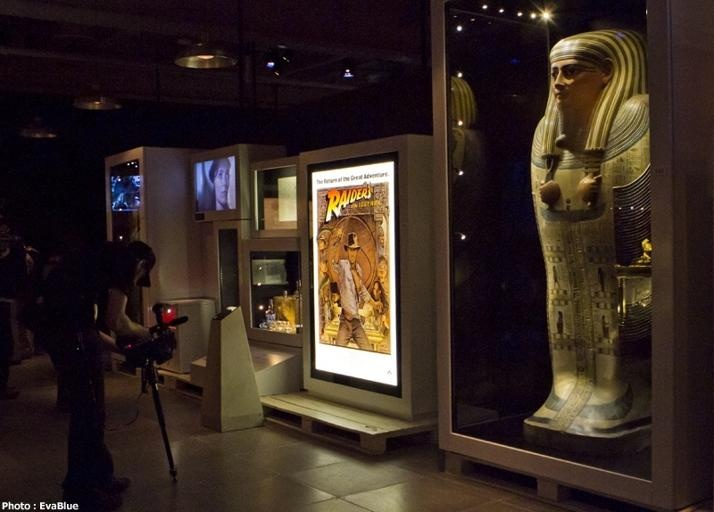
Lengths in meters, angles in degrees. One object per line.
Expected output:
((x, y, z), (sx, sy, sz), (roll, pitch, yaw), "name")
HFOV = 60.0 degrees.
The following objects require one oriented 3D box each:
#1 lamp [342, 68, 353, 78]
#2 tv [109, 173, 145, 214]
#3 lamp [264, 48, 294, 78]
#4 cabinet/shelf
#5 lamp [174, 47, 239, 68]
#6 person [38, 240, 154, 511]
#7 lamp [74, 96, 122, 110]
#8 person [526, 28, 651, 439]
((-0.116, -2.345, 7.910), (0.068, 0.148, 0.144), (2, -3, -40), "lamp")
((-3.351, -0.908, 9.033), (0.620, 0.619, 0.149), (3, 2, 41), "tv")
((-1.048, -2.597, 8.310), (0.298, 0.322, 0.405), (-4, 5, -35), "lamp")
((-0.990, -0.069, 7.561), (0.500, 2.210, 1.110), (-3, 4, -36), "cabinet/shelf")
((-1.719, -2.213, 6.923), (0.696, 0.126, 0.501), (-1, 4, 3), "lamp")
((-2.101, 0.967, 5.062), (0.790, 2.169, 0.592), (-3, 4, -35), "person")
((-2.949, -1.720, 7.065), (0.486, 0.177, 0.435), (-3, 4, -23), "lamp")
((1.764, -0.179, 4.704), (0.865, 3.050, 0.451), (1, 4, 27), "person")
